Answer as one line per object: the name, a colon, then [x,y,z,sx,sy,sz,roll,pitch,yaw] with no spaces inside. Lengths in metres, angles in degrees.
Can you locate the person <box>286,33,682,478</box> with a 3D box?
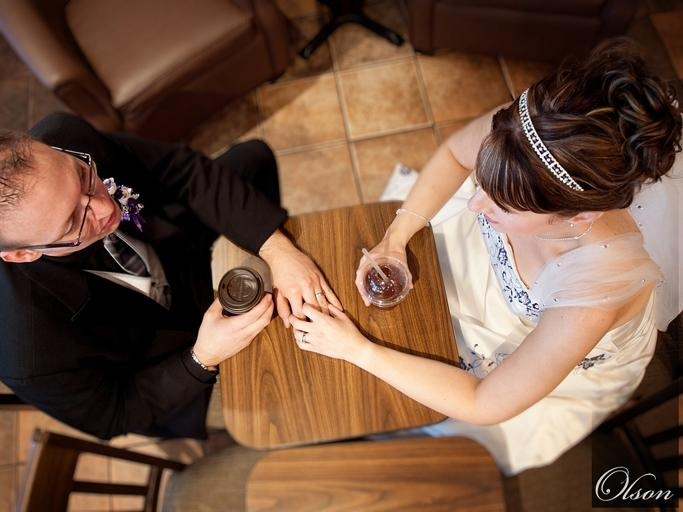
person: [0.597,0.049,2.219,1.147,1.846,1.122,-12,80,18]

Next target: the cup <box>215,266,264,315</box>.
cup: [-0.375,0.144,2.069,0.155,0.144,0.189,20,78,9]

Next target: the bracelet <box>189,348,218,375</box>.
bracelet: [-0.550,0.431,2.217,0.093,0.098,0.028,39,48,-8]

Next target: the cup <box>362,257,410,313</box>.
cup: [0.167,0.108,2.080,0.167,0.128,0.181,0,86,3]

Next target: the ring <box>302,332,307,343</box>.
ring: [-0.142,0.303,2.037,0.023,0.021,0.025,1,99,4]

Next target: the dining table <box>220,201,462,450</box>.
dining table: [-0.013,0.390,2.490,0.843,0.838,0.915,-8,76,1]
